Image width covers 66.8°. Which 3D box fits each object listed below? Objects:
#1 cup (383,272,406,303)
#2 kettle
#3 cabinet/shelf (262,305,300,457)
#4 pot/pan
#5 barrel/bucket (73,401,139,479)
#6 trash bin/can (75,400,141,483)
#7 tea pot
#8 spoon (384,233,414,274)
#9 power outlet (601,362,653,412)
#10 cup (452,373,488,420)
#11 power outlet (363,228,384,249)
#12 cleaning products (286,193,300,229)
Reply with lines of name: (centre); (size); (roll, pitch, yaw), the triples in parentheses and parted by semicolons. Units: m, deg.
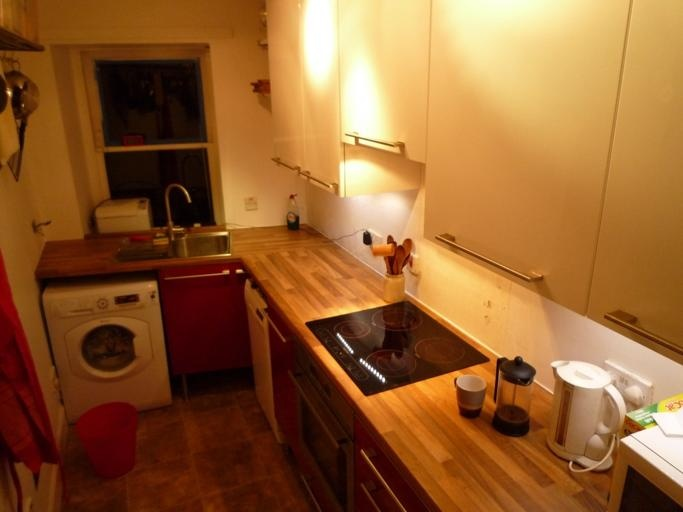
cup: (0.267, 0.155, 2.687); (0.124, 0.153, 0.129); (-1, 15, 0)
kettle: (0.777, 0.512, 1.631); (0.147, 0.262, 0.229); (-14, 28, -29)
cabinet/shelf: (-0.304, 0.687, 2.740); (0.226, 0.631, 0.450); (-3, 16, -11)
pot/pan: (-1.719, -0.695, 2.931); (0.191, 0.804, 0.558); (-4, 23, -20)
barrel/bucket: (-1.345, 1.063, 3.009); (0.321, 0.310, 0.330); (-1, 18, 0)
trash bin/can: (-1.325, 1.028, 3.016); (0.294, 0.404, 0.358); (-5, 17, -23)
tea pot: (0.599, 0.467, 1.787); (0.132, 0.271, 0.129); (-1, 18, 0)
spoon: (0.294, 0.001, 2.630); (0.131, 0.230, 0.198); (16, 24, 42)
power outlet: (0.916, 0.419, 1.646); (0.044, 0.139, 0.142); (1, 14, -10)
cup: (0.460, 0.488, 1.845); (0.095, 0.110, 0.150); (-3, 19, -1)
power outlet: (0.184, -0.103, 2.920); (0.034, 0.089, 0.092); (-14, 46, -18)
cleaning products: (-0.373, -0.343, 3.977); (0.107, 0.252, 0.141); (-3, 18, -7)
